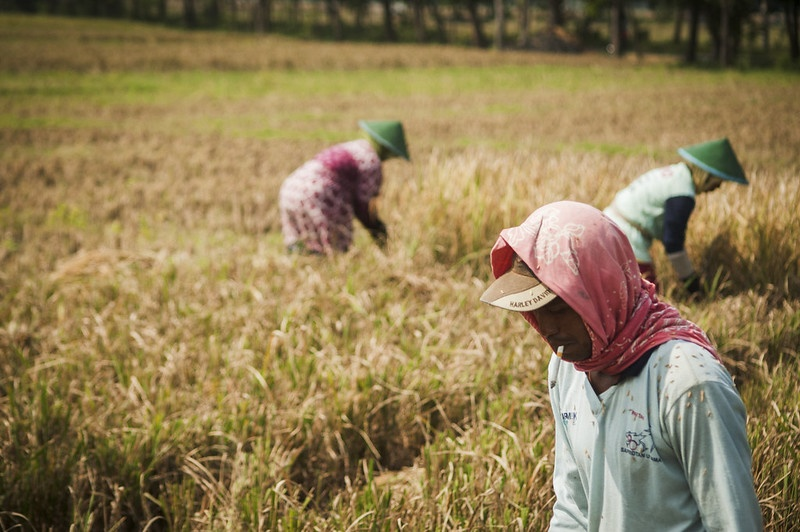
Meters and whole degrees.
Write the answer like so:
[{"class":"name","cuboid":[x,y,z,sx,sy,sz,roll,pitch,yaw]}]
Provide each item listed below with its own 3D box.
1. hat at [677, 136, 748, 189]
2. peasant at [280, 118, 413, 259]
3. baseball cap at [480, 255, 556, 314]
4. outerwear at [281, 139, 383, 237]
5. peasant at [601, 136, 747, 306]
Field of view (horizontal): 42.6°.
[{"class":"hat","cuboid":[2.724,-0.874,8.963,0.490,0.211,0.405,30,23,5]},{"class":"peasant","cuboid":[-0.434,-0.703,8.620,1.070,1.003,0.608,-17,34,-32]},{"class":"baseball cap","cuboid":[0.722,0.101,6.222,0.400,0.245,0.271,-2,8,-23]},{"class":"outerwear","cuboid":[-0.587,-0.668,8.603,0.624,0.647,1.091,23,36,35]},{"class":"peasant","cuboid":[2.286,-0.349,8.585,0.738,1.198,0.558,-12,54,5]}]
